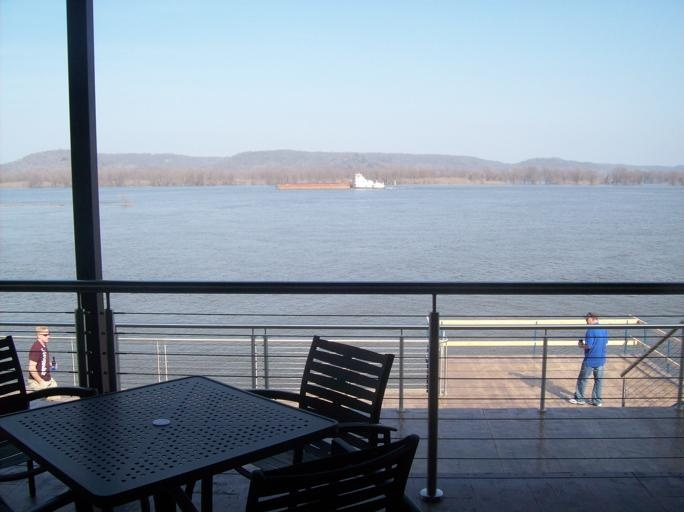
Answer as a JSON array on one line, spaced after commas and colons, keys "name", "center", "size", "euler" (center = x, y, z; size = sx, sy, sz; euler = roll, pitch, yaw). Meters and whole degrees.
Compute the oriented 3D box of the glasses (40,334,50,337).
[{"name": "glasses", "center": [-3.248, 0.882, 8.967], "size": [0.111, 0.024, 0.094], "euler": [1, 8, -3]}]
